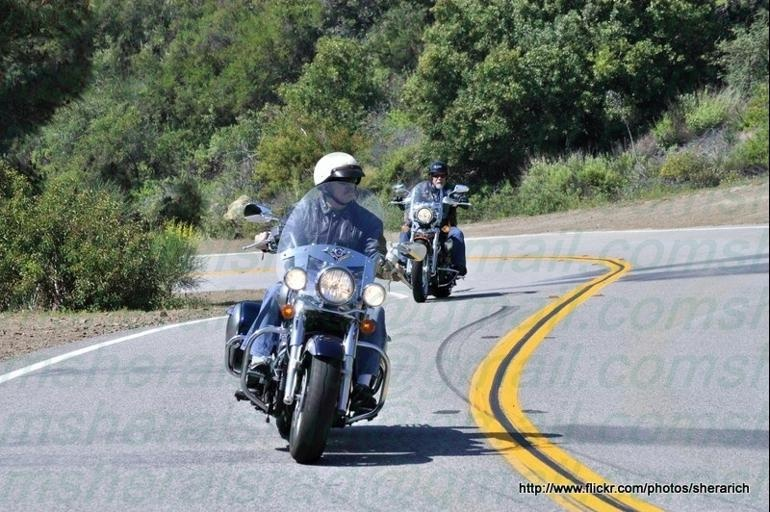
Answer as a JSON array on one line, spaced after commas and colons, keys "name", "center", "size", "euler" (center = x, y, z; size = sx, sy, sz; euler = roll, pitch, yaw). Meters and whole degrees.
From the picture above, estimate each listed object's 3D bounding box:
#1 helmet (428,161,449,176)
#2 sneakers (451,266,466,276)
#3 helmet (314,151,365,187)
[{"name": "helmet", "center": [1.180, -1.812, 20.134], "size": [0.315, 0.255, 0.480], "euler": [-3, 3, -2]}, {"name": "sneakers", "center": [1.592, 0.333, 19.576], "size": [0.237, 0.208, 0.235], "euler": [10, 21, -14]}, {"name": "helmet", "center": [-0.589, -1.160, 12.818], "size": [0.409, 0.466, 0.554], "euler": [-1, 19, -45]}]
